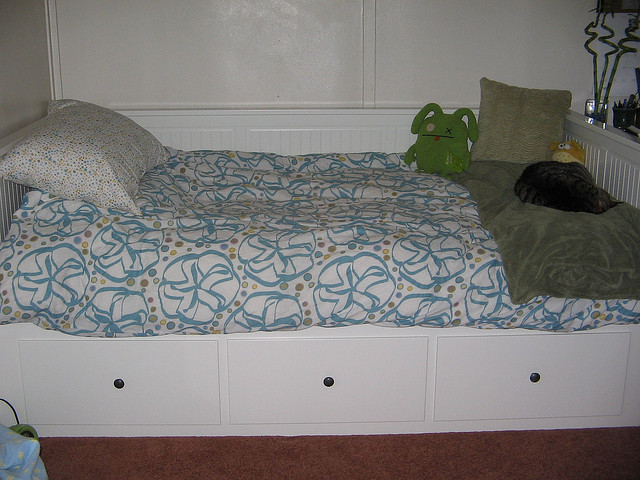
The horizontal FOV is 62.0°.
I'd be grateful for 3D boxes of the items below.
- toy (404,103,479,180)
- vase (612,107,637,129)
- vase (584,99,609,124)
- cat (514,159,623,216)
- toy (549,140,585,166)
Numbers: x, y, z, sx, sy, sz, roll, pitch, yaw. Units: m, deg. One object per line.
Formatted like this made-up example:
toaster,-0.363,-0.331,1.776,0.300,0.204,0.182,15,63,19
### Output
toy,0.619,-0.494,2.730,0.430,0.505,0.228,4,-21,16
vase,1.552,-0.625,2.717,0.108,0.096,0.087,6,15,27
vase,1.561,-0.732,3.011,0.123,0.123,0.366,6,15,27
cat,1.013,-0.217,2.211,0.321,0.110,0.223,7,55,1
toy,1.196,-0.421,2.578,0.165,0.069,0.162,11,59,27
